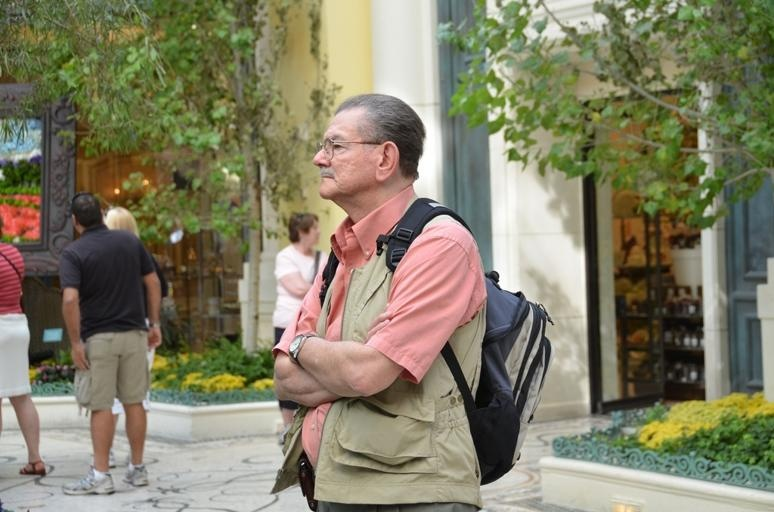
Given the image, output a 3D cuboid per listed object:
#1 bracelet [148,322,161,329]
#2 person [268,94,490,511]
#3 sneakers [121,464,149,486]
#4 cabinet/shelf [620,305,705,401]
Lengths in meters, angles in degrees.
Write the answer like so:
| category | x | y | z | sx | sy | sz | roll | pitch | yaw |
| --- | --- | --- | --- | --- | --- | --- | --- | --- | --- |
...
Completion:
| category | x | y | z | sx | sy | sz | roll | pitch | yaw |
| --- | --- | --- | --- | --- | --- | --- | --- | --- | --- |
| bracelet | -2.492 | 0.744 | 10.651 | 0.102 | 0.070 | 0.110 | 2 | 0 | 0 |
| person | -0.055 | 0.314 | 6.707 | 1.363 | 2.853 | 0.554 | -4 | -3 | 24 |
| sneakers | -2.583 | 2.288 | 10.314 | 0.125 | 0.170 | 0.355 | -1 | -1 | -23 |
| cabinet/shelf | 3.456 | 1.202 | 12.427 | 1.124 | 1.114 | 0.373 | 1 | -5 | -14 |
